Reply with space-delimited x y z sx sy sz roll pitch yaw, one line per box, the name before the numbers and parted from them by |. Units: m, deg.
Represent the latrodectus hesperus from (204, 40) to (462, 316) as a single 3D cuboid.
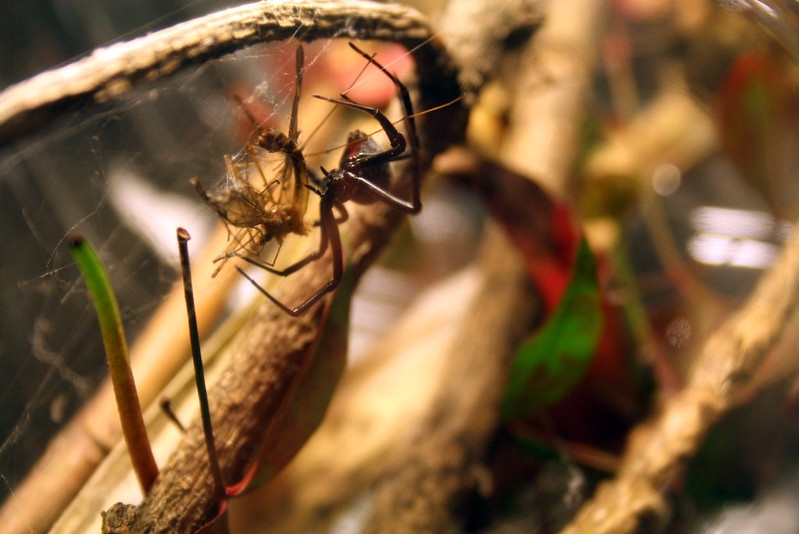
latrodectus hesperus | -0.087 -0.117 1.059 0.278 0.109 0.262 -47 52 7
